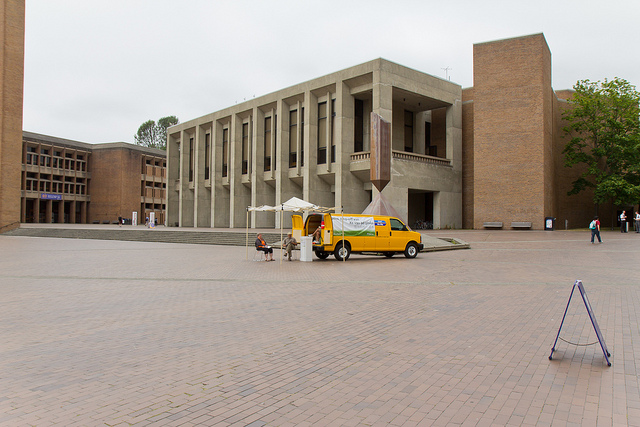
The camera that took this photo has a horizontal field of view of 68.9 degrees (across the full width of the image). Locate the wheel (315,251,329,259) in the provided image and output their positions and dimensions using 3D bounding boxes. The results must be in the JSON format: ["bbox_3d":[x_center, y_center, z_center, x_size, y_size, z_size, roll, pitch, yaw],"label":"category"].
[{"bbox_3d":[0.106,1.983,22.869,0.555,0.455,1.037,0,3,-6],"label":"wheel"}]

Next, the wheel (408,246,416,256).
[{"bbox_3d":[4.663,1.861,23.561,0.444,0.443,0.156,-3,-11,-33],"label":"wheel"}]

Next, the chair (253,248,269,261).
[{"bbox_3d":[-2.801,1.949,22.394,0.591,0.578,0.595,0,0,-8],"label":"chair"}]

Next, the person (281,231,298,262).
[{"bbox_3d":[-1.477,1.667,23.004,0.930,1.773,1.047,-5,-22,7],"label":"person"}]

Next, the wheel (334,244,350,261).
[{"bbox_3d":[1.094,1.814,22.337,0.647,0.798,0.884,2,3,21],"label":"wheel"}]

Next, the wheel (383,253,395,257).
[{"bbox_3d":[3.632,2.098,24.291,0.387,0.250,1.141,1,3,20],"label":"wheel"}]
